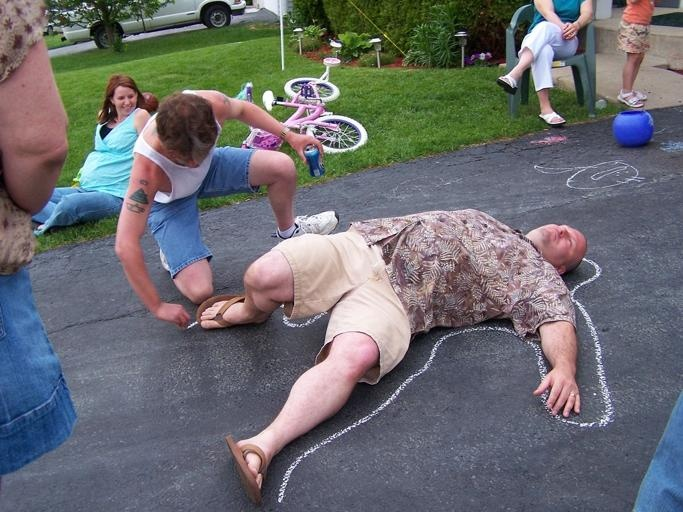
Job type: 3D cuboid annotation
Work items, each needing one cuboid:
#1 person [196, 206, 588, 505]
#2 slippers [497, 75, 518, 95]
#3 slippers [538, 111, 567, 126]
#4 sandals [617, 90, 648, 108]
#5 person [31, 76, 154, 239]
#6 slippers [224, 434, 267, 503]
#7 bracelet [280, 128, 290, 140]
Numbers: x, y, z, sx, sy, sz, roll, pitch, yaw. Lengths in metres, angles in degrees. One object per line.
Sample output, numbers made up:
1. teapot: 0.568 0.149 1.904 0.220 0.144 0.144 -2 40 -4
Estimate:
1. person: 0.347 0.549 3.199 1.489 0.382 1.429 -20 30 -23
2. slippers: 1.694 -1.694 5.947 0.264 0.116 0.130 29 -1 -40
3. slippers: 2.097 -1.365 5.948 0.277 0.135 0.238 12 32 25
4. sandals: 3.040 -1.638 6.242 0.255 0.100 0.196 26 58 31
5. person: -2.254 -0.858 5.200 1.262 1.327 0.808 -19 31 -40
6. slippers: -0.391 0.878 2.530 0.116 0.121 0.307 -23 67 -37
7. bracelet: -0.397 -0.839 4.082 0.053 0.078 0.084 7 -2 -17
